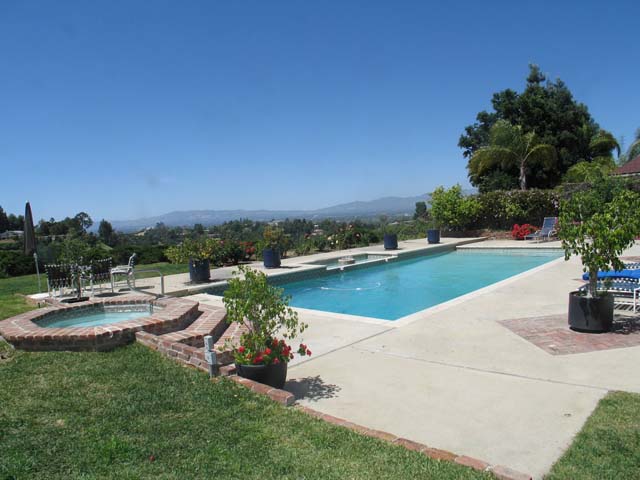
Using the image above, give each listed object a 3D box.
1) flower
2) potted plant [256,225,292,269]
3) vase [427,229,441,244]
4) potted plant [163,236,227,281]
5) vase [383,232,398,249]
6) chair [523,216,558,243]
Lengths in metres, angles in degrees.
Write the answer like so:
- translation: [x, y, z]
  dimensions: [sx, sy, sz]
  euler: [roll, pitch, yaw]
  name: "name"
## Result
- translation: [-0.815, 1.110, 6.116]
  dimensions: [1.111, 1.625, 1.609]
  euler: [-2, 13, -7]
  name: "flower"
- translation: [-1.685, 0.264, 14.755]
  dimensions: [0.890, 1.485, 0.925]
  euler: [-6, 14, -23]
  name: "potted plant"
- translation: [6.247, -0.140, 22.828]
  dimensions: [0.724, 1.037, 0.734]
  euler: [-2, 6, 14]
  name: "vase"
- translation: [-3.649, 0.386, 12.261]
  dimensions: [1.177, 1.522, 1.467]
  euler: [3, 14, 21]
  name: "potted plant"
- translation: [3.398, 0.101, 19.857]
  dimensions: [0.651, 0.697, 0.648]
  euler: [-1, 2, 35]
  name: "vase"
- translation: [12.095, -0.444, 22.709]
  dimensions: [1.354, 1.554, 3.514]
  euler: [-1, 8, 41]
  name: "chair"
